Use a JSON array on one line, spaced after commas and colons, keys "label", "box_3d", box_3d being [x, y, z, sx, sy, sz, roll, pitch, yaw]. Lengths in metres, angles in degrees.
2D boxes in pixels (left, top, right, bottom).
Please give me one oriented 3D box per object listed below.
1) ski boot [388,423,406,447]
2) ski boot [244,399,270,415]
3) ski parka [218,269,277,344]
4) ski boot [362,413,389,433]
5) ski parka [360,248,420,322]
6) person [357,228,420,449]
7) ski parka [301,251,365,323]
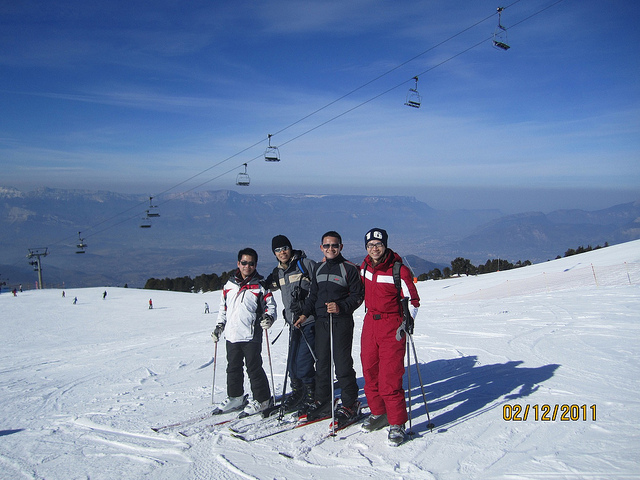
[{"label": "ski boot", "box_3d": [1.383, 3.510, 8.626, 0.347, 0.353, 0.237, -3, -6, -1]}, {"label": "ski boot", "box_3d": [-1.304, 3.395, 9.753, 0.575, 0.219, 0.202, 8, -8, -40]}, {"label": "ski parka", "box_3d": [-1.515, 1.386, 9.953, 1.153, 1.508, 0.585, -3, -6, 4]}, {"label": "ski boot", "box_3d": [1.034, 3.459, 9.057, 0.676, 0.261, 0.224, 8, -9, -40]}, {"label": "ski parka", "box_3d": [1.221, 0.828, 9.182, 0.576, 1.419, 1.476, -20, 22, -40]}, {"label": "person", "box_3d": [1.228, 1.756, 8.897, 1.211, 3.949, 0.524, -8, -8, 40]}, {"label": "ski parka", "box_3d": [0.288, 0.965, 9.541, 1.222, 1.359, 0.495, -7, -7, 33]}]
